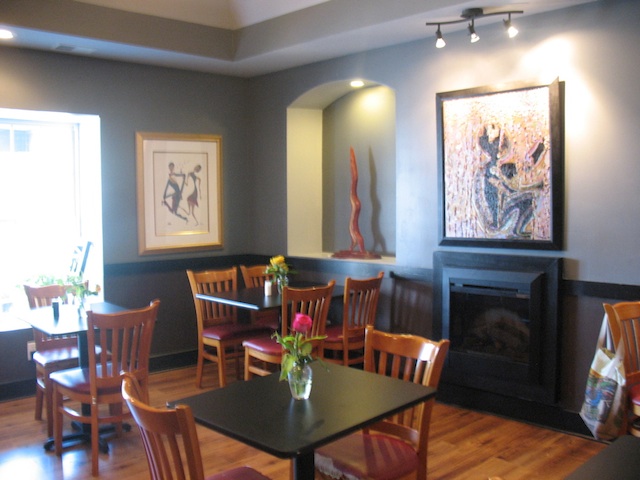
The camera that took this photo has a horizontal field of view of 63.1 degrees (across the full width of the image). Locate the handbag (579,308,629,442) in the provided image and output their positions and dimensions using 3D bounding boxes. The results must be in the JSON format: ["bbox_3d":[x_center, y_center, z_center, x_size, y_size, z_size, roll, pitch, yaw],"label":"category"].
[{"bbox_3d":[1.913,0.986,3.491,0.255,0.660,0.156,1,7,28],"label":"handbag"}]

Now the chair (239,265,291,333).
[{"bbox_3d":[-0.477,0.577,5.713,0.484,0.810,0.564,-1,2,-39],"label":"chair"}]

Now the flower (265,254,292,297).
[{"bbox_3d":[-0.387,0.355,5.141,0.326,0.345,0.330,0,3,27],"label":"flower"}]

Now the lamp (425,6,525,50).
[{"bbox_3d":[1.259,-1.731,4.310,0.780,0.270,0.485,2,7,32],"label":"lamp"}]

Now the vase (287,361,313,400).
[{"bbox_3d":[-0.098,0.728,2.709,0.123,0.197,0.138,-3,-19,10],"label":"vase"}]

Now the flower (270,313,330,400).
[{"bbox_3d":[-0.131,0.618,2.902,0.384,0.441,0.374,5,-5,-43],"label":"flower"}]

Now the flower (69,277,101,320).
[{"bbox_3d":[-2.020,0.498,4.470,0.297,0.313,0.305,3,3,11],"label":"flower"}]
